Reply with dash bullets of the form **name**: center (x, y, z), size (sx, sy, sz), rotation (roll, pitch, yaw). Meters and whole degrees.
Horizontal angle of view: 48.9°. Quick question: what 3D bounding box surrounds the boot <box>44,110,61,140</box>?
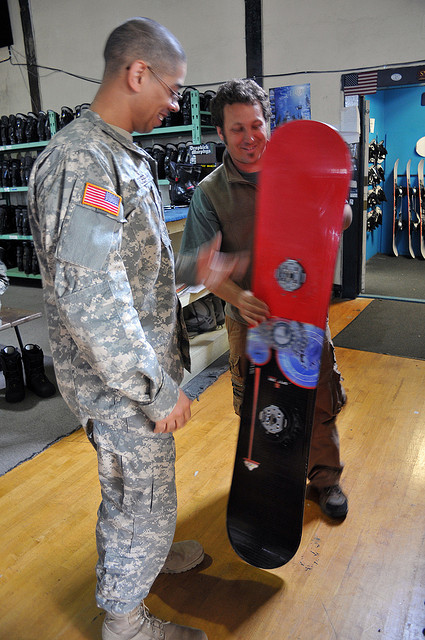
- **boot**: center (-1.872, -2.298, 5.618), size (0.151, 0.437, 0.176), rotation (3, 13, 4)

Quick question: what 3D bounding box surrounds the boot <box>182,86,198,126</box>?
- **boot**: center (-0.218, -2.042, 4.516), size (0.120, 0.396, 0.157), rotation (2, 20, 11)

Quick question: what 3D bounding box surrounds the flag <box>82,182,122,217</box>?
- **flag**: center (-0.198, -0.218, 0.847), size (0.024, 0.061, 0.080), rotation (5, 15, 40)

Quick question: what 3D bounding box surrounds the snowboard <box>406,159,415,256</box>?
- **snowboard**: center (2.728, -1.617, 6.479), size (0.109, 1.346, 0.147), rotation (4, 11, 27)

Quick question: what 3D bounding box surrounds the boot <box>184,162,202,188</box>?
- **boot**: center (-0.128, -1.140, 3.669), size (0.084, 0.173, 0.136), rotation (0, 13, 23)

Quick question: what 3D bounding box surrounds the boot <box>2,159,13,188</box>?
- **boot**: center (-2.623, -1.901, 6.045), size (0.135, 0.351, 0.229), rotation (-11, 13, -27)

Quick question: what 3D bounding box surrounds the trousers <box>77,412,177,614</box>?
- **trousers**: center (-0.192, 0.460, 1.122), size (0.224, 0.534, 0.128), rotation (-6, 12, -8)

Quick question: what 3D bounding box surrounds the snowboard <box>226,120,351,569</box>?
- **snowboard**: center (0.238, 0.126, 1.410), size (0.272, 1.311, 0.202), rotation (13, 18, 25)

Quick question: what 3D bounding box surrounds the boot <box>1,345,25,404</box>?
- **boot**: center (-1.185, 0.329, 2.886), size (0.123, 0.169, 0.378), rotation (-7, 54, -15)

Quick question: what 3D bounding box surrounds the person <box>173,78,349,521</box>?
- **person**: center (0.220, 0.001, 1.588), size (0.568, 1.476, 0.510), rotation (-9, 11, -4)

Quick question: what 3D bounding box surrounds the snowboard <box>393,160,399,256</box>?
- **snowboard**: center (2.560, -1.545, 6.587), size (0.064, 1.297, 0.392), rotation (0, 12, 21)

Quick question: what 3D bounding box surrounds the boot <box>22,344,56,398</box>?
- **boot**: center (-1.103, 0.321, 2.964), size (0.126, 0.228, 0.360), rotation (-11, 28, -32)

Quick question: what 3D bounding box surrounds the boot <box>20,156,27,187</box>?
- **boot**: center (-2.372, -1.870, 5.936), size (0.097, 0.367, 0.236), rotation (-9, 12, -19)

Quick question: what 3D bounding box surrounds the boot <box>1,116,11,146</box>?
- **boot**: center (-2.617, -2.419, 6.040), size (0.121, 0.379, 0.154), rotation (1, 15, 2)

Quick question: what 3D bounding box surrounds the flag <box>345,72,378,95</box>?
- **flag**: center (1.238, -1.984, 3.911), size (0.222, 0.155, 0.018), rotation (9, 25, 35)
